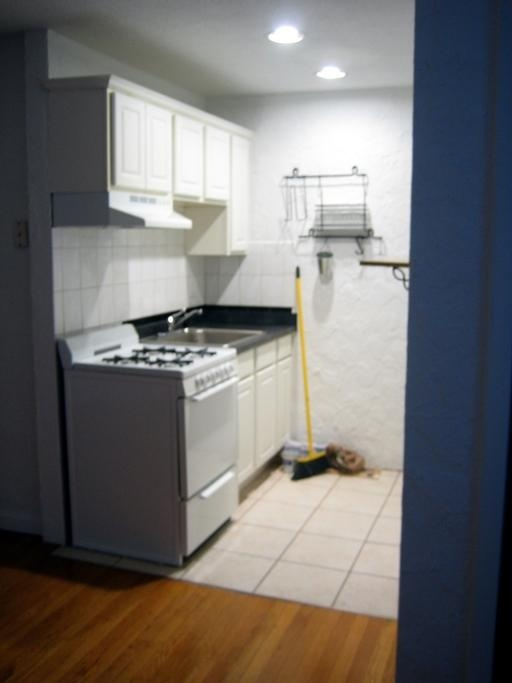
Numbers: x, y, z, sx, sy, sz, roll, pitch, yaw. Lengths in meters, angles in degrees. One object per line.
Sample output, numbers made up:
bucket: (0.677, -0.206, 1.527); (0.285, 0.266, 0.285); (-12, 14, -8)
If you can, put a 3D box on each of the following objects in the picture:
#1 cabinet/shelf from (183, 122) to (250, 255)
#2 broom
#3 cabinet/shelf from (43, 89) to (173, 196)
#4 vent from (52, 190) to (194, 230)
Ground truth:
cabinet/shelf: (-0.300, -1.008, 3.796); (0.289, 1.004, 0.460); (-9, 7, 16)
broom: (0.354, 0.204, 3.792); (0.293, 1.421, 0.363); (-1, 5, -12)
cabinet/shelf: (-0.592, -0.941, 2.564); (0.390, 0.583, 0.356); (18, 25, 41)
vent: (-0.618, -0.628, 2.591); (0.651, 0.198, 0.427); (-3, 7, -25)
